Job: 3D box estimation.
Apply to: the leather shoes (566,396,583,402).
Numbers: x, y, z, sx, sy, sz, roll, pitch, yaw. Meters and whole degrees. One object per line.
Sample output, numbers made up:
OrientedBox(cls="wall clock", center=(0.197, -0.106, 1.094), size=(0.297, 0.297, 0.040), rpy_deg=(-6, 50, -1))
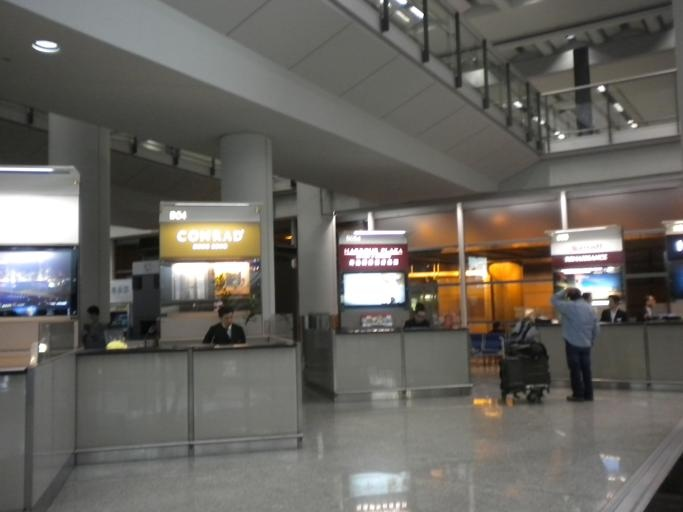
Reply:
OrientedBox(cls="leather shoes", center=(4.061, 2.467, 9.840), size=(0.221, 0.101, 0.099), rpy_deg=(3, -1, 21))

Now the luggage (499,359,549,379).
OrientedBox(cls="luggage", center=(3.169, 1.936, 9.660), size=(0.612, 0.393, 0.303), rpy_deg=(0, 7, 1))

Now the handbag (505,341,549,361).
OrientedBox(cls="handbag", center=(3.277, 1.645, 10.042), size=(0.443, 0.228, 0.385), rpy_deg=(-2, 2, 2))

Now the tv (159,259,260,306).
OrientedBox(cls="tv", center=(-2.338, 0.451, 10.109), size=(1.771, 0.829, 0.055), rpy_deg=(0, 8, -5))

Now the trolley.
OrientedBox(cls="trolley", center=(3.314, 2.049, 10.060), size=(0.662, 0.829, 0.687), rpy_deg=(-1, -11, 4))

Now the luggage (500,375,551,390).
OrientedBox(cls="luggage", center=(3.149, 2.187, 9.804), size=(0.406, 0.157, 0.407), rpy_deg=(1, -4, -13))

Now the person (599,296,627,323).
OrientedBox(cls="person", center=(5.851, 1.151, 12.207), size=(0.210, 0.786, 0.408), rpy_deg=(16, -19, -32))

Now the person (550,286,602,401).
OrientedBox(cls="person", center=(4.141, 1.530, 10.023), size=(0.727, 1.934, 0.412), rpy_deg=(-3, -4, 16))
